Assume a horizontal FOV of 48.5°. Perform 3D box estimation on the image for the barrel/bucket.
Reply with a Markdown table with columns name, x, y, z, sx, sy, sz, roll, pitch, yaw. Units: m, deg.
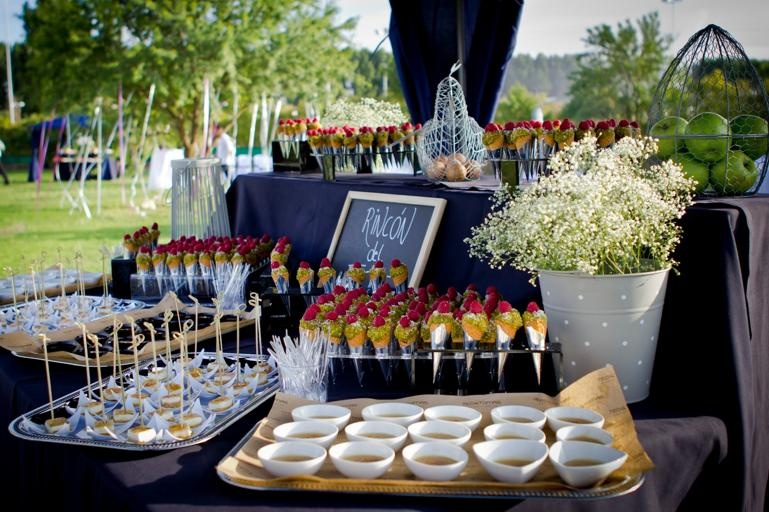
| name | x | y | z | sx | sy | sz | roll | pitch | yaw |
| --- | --- | --- | --- | --- | --- | --- | --- | --- | --- |
| barrel/bucket | 0.906 | 0.307 | 3.825 | 0.556 | 0.549 | 0.558 | -1 | 2 | 0 |

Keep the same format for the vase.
| name | x | y | z | sx | sy | sz | roll | pitch | yaw |
| --- | --- | --- | --- | --- | --- | --- | --- | --- | --- |
| vase | 0.910 | 0.305 | 3.764 | 0.554 | 0.551 | 0.561 | -1 | 2 | 5 |

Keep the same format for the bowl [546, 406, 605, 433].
| name | x | y | z | sx | sy | sz | roll | pitch | yaw |
| --- | --- | --- | --- | --- | --- | --- | --- | --- | --- |
| bowl | 0.760 | 0.651 | 3.468 | 0.134 | 0.055 | 0.136 | 1 | 8 | 0 |

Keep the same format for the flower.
| name | x | y | z | sx | sy | sz | roll | pitch | yaw |
| --- | --- | --- | --- | --- | --- | --- | --- | --- | --- |
| flower | 0.884 | -0.109 | 3.987 | 0.779 | 0.700 | 0.773 | -3 | 1 | -2 |

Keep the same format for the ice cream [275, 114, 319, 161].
| name | x | y | z | sx | sy | sz | roll | pitch | yaw |
| --- | --- | --- | --- | --- | --- | --- | --- | --- | --- |
| ice cream | -0.564 | -0.776 | 5.475 | 0.258 | 0.318 | 0.295 | 0 | 1 | -11 |

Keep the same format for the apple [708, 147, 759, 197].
| name | x | y | z | sx | sy | sz | roll | pitch | yaw |
| --- | --- | --- | --- | --- | --- | --- | --- | --- | --- |
| apple | 1.578 | -0.372 | 3.894 | 0.228 | 0.202 | 0.192 | 7 | -5 | -14 |

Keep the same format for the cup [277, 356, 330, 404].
| name | x | y | z | sx | sy | sz | roll | pitch | yaw |
| --- | --- | --- | --- | --- | --- | --- | --- | --- | --- |
| cup | -0.336 | 0.521 | 3.698 | 0.186 | 0.218 | 0.202 | -2 | 0 | 0 |

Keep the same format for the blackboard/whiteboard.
| name | x | y | z | sx | sy | sz | roll | pitch | yaw |
| --- | --- | --- | --- | --- | --- | --- | --- | --- | --- |
| blackboard/whiteboard | 0.031 | -0.067 | 4.513 | 0.048 | 0.431 | 0.487 | 23 | -7 | -38 |

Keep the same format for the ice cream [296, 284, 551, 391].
| name | x | y | z | sx | sy | sz | roll | pitch | yaw |
| --- | --- | --- | --- | --- | --- | --- | --- | --- | --- |
| ice cream | 0.234 | 0.351 | 3.858 | 0.770 | 0.291 | 0.559 | 2 | 5 | 12 |

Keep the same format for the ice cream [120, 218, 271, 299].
| name | x | y | z | sx | sy | sz | roll | pitch | yaw |
| --- | --- | --- | --- | --- | --- | --- | --- | --- | --- |
| ice cream | -1.130 | 0.015 | 4.880 | 0.617 | 0.208 | 0.453 | 2 | 6 | 13 |

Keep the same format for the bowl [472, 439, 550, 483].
| name | x | y | z | sx | sy | sz | roll | pitch | yaw |
| --- | --- | --- | --- | --- | --- | --- | --- | --- | --- |
| bowl | 0.487 | 0.793 | 3.250 | 0.297 | 0.118 | 0.251 | -3 | 14 | -7 |

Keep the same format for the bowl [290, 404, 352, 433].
| name | x | y | z | sx | sy | sz | roll | pitch | yaw |
| --- | --- | --- | --- | --- | --- | --- | --- | --- | --- |
| bowl | -0.249 | 0.642 | 3.515 | 0.130 | 0.054 | 0.136 | 3 | 4 | 0 |

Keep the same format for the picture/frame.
| name | x | y | z | sx | sy | sz | roll | pitch | yaw |
| --- | --- | --- | --- | --- | --- | --- | --- | --- | --- |
| picture/frame | 0.012 | -0.068 | 4.520 | 0.050 | 0.449 | 0.508 | 23 | -7 | -38 |

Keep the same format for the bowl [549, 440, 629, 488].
| name | x | y | z | sx | sy | sz | roll | pitch | yaw |
| --- | --- | --- | --- | --- | --- | --- | --- | --- | --- |
| bowl | 0.772 | 0.791 | 3.292 | 0.220 | 0.084 | 0.176 | -2 | 27 | -11 |

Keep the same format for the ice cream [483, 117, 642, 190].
| name | x | y | z | sx | sy | sz | roll | pitch | yaw |
| --- | --- | --- | --- | --- | --- | --- | --- | --- | --- |
| ice cream | 0.720 | -0.537 | 4.099 | 0.438 | 0.238 | 0.441 | -3 | 6 | -13 |

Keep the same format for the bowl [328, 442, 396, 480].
| name | x | y | z | sx | sy | sz | roll | pitch | yaw |
| --- | --- | --- | --- | --- | --- | --- | --- | --- | --- |
| bowl | -0.092 | 0.791 | 3.332 | 0.250 | 0.118 | 0.111 | 0 | 8 | -2 |
